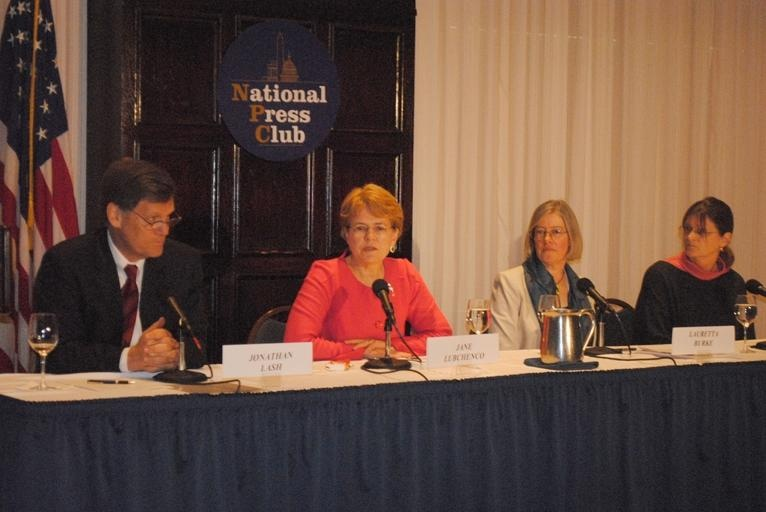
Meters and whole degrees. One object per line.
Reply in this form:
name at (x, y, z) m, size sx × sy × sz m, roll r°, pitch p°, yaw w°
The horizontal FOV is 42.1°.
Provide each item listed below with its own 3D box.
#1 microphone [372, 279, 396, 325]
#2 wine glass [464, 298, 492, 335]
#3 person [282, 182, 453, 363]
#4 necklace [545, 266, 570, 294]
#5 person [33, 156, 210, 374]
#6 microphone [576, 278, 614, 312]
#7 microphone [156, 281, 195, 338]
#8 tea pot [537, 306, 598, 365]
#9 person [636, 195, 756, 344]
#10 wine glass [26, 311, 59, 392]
microphone at (0.000, 0.213, 5.098) m, size 0.084 × 0.294 × 0.075 m, roll -40°, pitch -46°, yaw 24°
wine glass at (0.504, 0.321, 5.233) m, size 0.115 × 0.185 × 0.253 m, roll -1°, pitch 1°, yaw 7°
person at (-0.127, 0.105, 5.867) m, size 1.025 × 1.017 × 0.562 m, roll -2°, pitch 8°, yaw -23°
necklace at (1.175, 0.155, 6.575) m, size 0.137 × 0.173 × 0.191 m, roll -2°, pitch -8°, yaw -3°
person at (-1.471, 0.321, 5.582) m, size 0.862 × 1.707 × 0.828 m, roll 6°, pitch 9°, yaw 4°
microphone at (1.161, 0.212, 5.486) m, size 0.178 × 0.180 × 0.311 m, roll -1°, pitch 1°, yaw 12°
microphone at (-1.129, 0.295, 5.359) m, size 0.060 × 0.352 × 0.041 m, roll -36°, pitch -11°, yaw 7°
tea pot at (0.977, 0.415, 5.207) m, size 0.313 × 0.301 × 0.207 m, roll -3°, pitch 4°, yaw 0°
person at (2.081, 0.083, 6.845) m, size 0.839 × 0.974 × 0.404 m, roll -1°, pitch 1°, yaw -29°
wine glass at (-1.635, 0.453, 4.779) m, size 0.124 × 0.361 × 0.216 m, roll -1°, pitch 1°, yaw -22°
